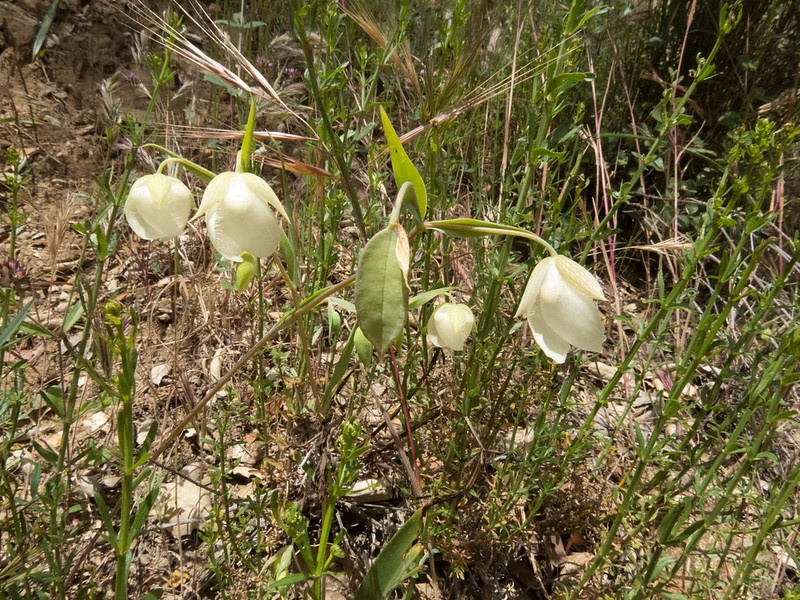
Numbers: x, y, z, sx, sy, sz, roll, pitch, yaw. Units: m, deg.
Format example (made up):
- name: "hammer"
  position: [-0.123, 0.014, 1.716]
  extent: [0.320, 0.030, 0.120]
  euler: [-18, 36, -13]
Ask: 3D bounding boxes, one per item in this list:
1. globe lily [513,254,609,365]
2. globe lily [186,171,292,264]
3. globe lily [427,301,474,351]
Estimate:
- name: "globe lily"
  position: [0.590, 0.028, 2.482]
  extent: [0.299, 0.416, 0.131]
  euler: [-7, 5, 27]
- name: "globe lily"
  position: [-0.568, -0.311, 2.468]
  extent: [0.304, 0.313, 0.305]
  euler: [22, 47, -33]
- name: "globe lily"
  position: [0.198, 0.109, 2.788]
  extent: [0.161, 0.209, 0.190]
  euler: [17, 16, 23]
